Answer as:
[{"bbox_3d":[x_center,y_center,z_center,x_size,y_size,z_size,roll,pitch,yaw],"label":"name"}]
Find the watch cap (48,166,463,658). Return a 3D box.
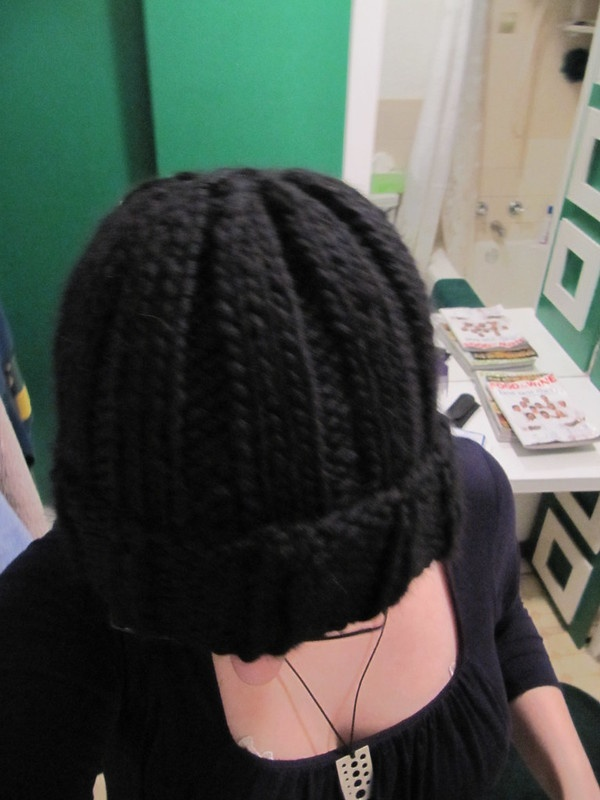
[{"bbox_3d":[-0.035,0.019,0.480,0.262,0.300,0.175,-13,37,-20],"label":"watch cap"}]
